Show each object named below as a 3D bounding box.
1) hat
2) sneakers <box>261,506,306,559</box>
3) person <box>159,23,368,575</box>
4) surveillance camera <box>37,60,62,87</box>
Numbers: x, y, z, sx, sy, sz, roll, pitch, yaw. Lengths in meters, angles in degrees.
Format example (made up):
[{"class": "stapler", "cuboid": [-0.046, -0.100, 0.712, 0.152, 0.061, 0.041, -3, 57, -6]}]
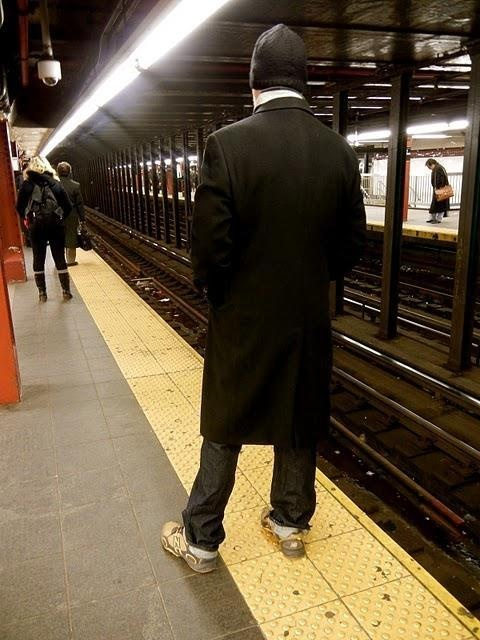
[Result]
[{"class": "hat", "cuboid": [0.132, -0.848, 1.342, 0.199, 0.222, 0.170, -2, 8, -7]}, {"class": "sneakers", "cuboid": [0.189, 0.940, 1.819, 0.086, 0.109, 0.253, -3, 26, -12]}, {"class": "person", "cuboid": [0.098, 0.044, 1.536, 0.672, 1.997, 0.481, -5, 9, -27]}, {"class": "surveillance camera", "cuboid": [-2.711, -3.576, 5.847, 0.270, 0.321, 0.399, -5, 9, -28]}]
